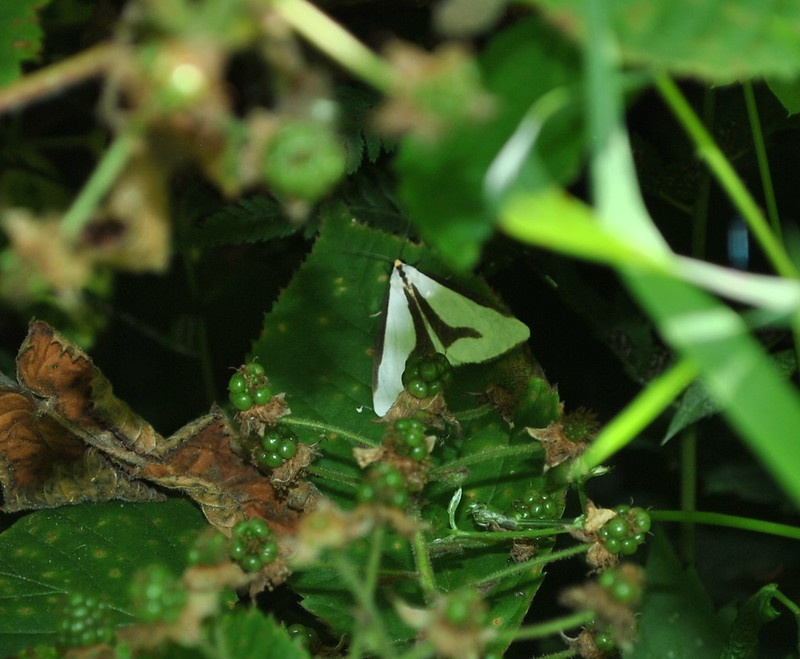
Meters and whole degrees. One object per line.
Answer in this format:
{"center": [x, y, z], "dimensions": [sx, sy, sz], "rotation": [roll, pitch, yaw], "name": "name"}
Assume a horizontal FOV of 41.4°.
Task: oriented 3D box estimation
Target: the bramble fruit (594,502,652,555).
{"center": [0.241, 0.219, 1.145], "dimensions": [0.052, 0.054, 0.044], "rotation": [0, 12, -3], "name": "bramble fruit"}

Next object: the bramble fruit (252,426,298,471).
{"center": [-0.133, 0.136, 1.194], "dimensions": [0.055, 0.026, 0.040], "rotation": [-14, 53, 1], "name": "bramble fruit"}

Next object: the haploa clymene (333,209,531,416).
{"center": [0.036, -0.019, 1.243], "dimensions": [0.251, 0.062, 0.178], "rotation": [-26, 81, -6], "name": "haploa clymene"}

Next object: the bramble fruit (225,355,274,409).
{"center": [-0.166, 0.056, 1.166], "dimensions": [0.042, 0.055, 0.039], "rotation": [-4, 17, -16], "name": "bramble fruit"}

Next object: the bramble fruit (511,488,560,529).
{"center": [0.153, 0.205, 1.186], "dimensions": [0.041, 0.017, 0.042], "rotation": [34, 59, 24], "name": "bramble fruit"}
